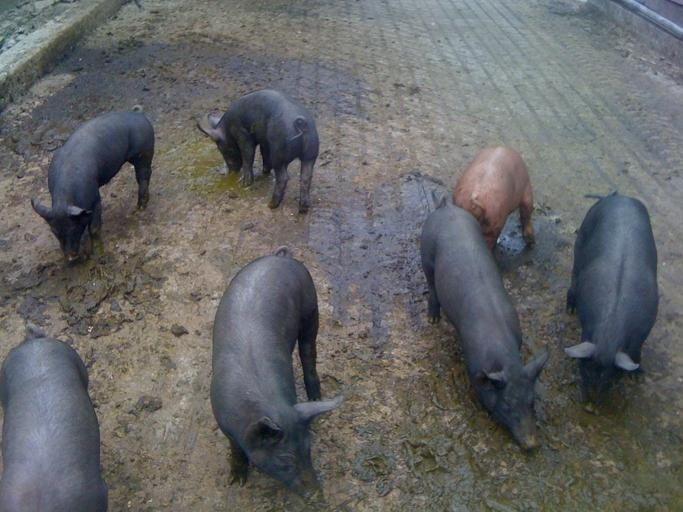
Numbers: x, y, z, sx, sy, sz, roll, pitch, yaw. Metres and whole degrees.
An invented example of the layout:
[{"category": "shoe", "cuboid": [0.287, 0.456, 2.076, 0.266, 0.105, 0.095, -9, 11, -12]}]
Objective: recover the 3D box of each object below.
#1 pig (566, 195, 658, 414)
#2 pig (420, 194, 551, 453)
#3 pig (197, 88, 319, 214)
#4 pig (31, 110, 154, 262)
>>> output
[{"category": "pig", "cuboid": [2.868, 0.343, 6.119, 0.852, 0.968, 1.968, 11, 44, 19]}, {"category": "pig", "cuboid": [1.422, 0.388, 6.219, 0.738, 1.484, 2.989, -18, 70, 0]}, {"category": "pig", "cuboid": [-1.228, -1.611, 8.042, 0.747, 1.452, 2.299, -14, 28, -40]}, {"category": "pig", "cuboid": [-3.134, -1.168, 7.303, 1.336, 2.081, 1.341, 1, 29, -11]}]
